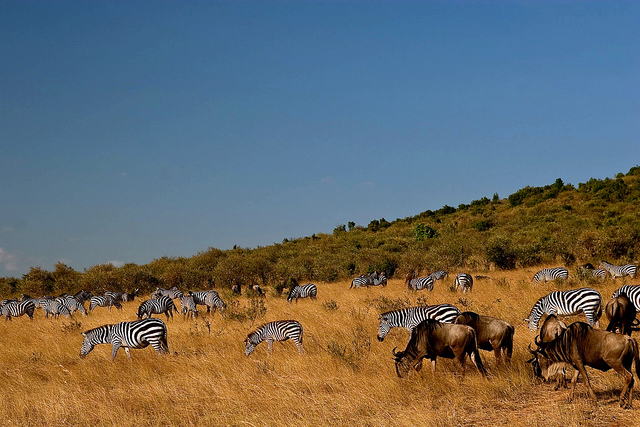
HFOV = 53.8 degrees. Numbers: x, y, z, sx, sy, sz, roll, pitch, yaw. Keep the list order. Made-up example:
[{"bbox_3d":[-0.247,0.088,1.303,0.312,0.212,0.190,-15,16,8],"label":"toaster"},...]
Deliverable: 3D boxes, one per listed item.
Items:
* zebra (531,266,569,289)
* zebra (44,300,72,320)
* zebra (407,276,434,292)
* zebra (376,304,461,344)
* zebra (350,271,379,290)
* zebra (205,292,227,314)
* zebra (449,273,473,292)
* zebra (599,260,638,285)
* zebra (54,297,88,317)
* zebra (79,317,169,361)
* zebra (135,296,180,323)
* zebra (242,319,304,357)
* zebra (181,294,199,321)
[{"bbox_3d":[13.949,3.855,38.152,2.170,1.074,1.328,-14,-15,37],"label":"zebra"},{"bbox_3d":[-15.772,5.779,37.671,1.138,1.276,2.827,6,-16,-41],"label":"zebra"},{"bbox_3d":[6.436,4.504,40.238,2.095,1.296,0.672,-4,-13,25],"label":"zebra"},{"bbox_3d":[4.736,5.185,29.563,4.065,2.247,1.068,-7,29,-4],"label":"zebra"},{"bbox_3d":[3.056,4.630,43.383,1.907,1.087,0.712,-1,-11,-17],"label":"zebra"},{"bbox_3d":[-6.148,5.192,36.628,1.529,1.236,0.682,-11,-13,31],"label":"zebra"},{"bbox_3d":[8.690,4.340,38.820,0.921,1.197,1.977,-2,-12,-12],"label":"zebra"},{"bbox_3d":[17.597,3.402,36.953,2.015,1.399,2.067,-6,-12,7],"label":"zebra"},{"bbox_3d":[-15.025,5.630,37.662,2.218,1.217,0.625,14,1,15],"label":"zebra"},{"bbox_3d":[-9.175,5.975,29.318,3.894,2.199,1.196,-3,14,-14],"label":"zebra"},{"bbox_3d":[-9.200,5.484,35.394,2.437,1.478,0.672,-4,-1,-38],"label":"zebra"},{"bbox_3d":[-2.084,5.923,30.090,4.059,2.353,1.226,-2,-12,3],"label":"zebra"},{"bbox_3d":[-7.444,5.367,35.904,0.792,1.471,1.498,1,-13,-25],"label":"zebra"}]
